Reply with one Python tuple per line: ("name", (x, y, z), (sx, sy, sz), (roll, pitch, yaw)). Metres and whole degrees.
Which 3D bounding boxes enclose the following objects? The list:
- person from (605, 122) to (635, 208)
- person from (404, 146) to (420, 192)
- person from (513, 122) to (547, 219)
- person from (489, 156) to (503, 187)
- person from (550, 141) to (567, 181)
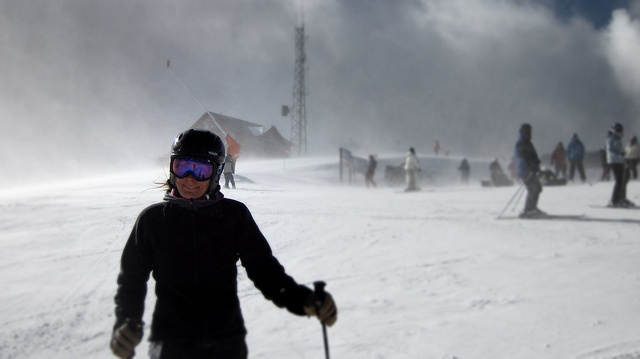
("person", (7.598, -0.341, 11.458), (0.938, 2.123, 0.541), (-5, 11, -20))
("person", (3.656, -0.405, 17.977), (0.576, 1.738, 0.558), (1, 11, 12))
("person", (5.147, -0.218, 10.995), (0.698, 2.269, 0.524), (3, 12, 23))
("person", (8.766, -0.376, 22.249), (0.606, 1.330, 0.920), (1, 11, 13))
("person", (9.592, -0.726, 18.033), (0.601, 1.609, 2.645), (5, 12, 29))
